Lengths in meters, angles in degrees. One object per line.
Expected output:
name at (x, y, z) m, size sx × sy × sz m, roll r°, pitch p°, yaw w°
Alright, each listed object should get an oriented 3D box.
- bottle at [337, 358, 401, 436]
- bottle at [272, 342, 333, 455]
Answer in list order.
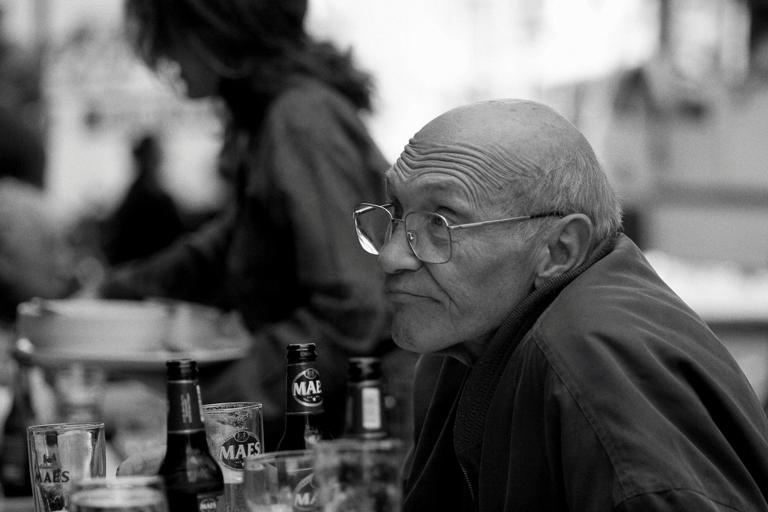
bottle at (-0.032, 0.309, 3.119) m, size 0.125 × 0.178 × 0.076 m, roll -7°, pitch 6°, yaw -14°
bottle at (-0.204, 0.332, 3.435) m, size 0.129 × 0.261 × 0.236 m, roll -6°, pitch 5°, yaw 2°
